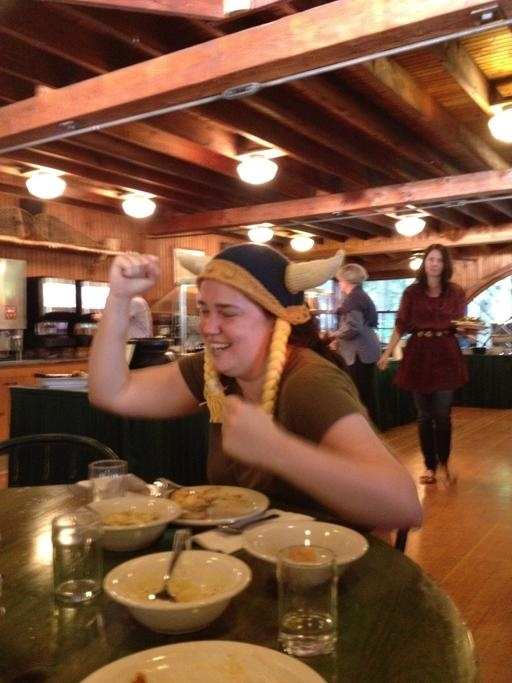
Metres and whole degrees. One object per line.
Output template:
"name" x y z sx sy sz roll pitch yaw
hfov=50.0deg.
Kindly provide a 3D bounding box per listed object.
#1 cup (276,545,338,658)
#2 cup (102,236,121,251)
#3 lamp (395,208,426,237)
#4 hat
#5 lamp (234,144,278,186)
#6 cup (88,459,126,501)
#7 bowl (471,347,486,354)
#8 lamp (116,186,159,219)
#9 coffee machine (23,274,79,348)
"cup" 0.056 0.303 0.633 0.077 0.098 0.070 -1 -7 0
"cup" -1.918 -1.279 7.305 0.248 0.150 0.232 -1 2 0
"lamp" 2.020 -1.555 7.137 0.351 0.302 0.389 1 -1 8
"hat" -0.008 -0.157 1.408 0.476 0.181 0.283 13 8 33
"lamp" 0.010 -1.623 5.121 0.363 0.255 0.410 1 -2 -4
"cup" -0.302 0.286 1.127 0.087 0.078 0.078 0 0 -27
"bowl" 3.042 0.138 7.429 0.117 0.067 0.107 0 -4 0
"lamp" -1.345 -1.522 6.261 0.503 0.439 0.241 7 -42 -9
"coffee machine" -2.360 -0.320 6.285 0.551 0.777 0.521 -1 2 -36
